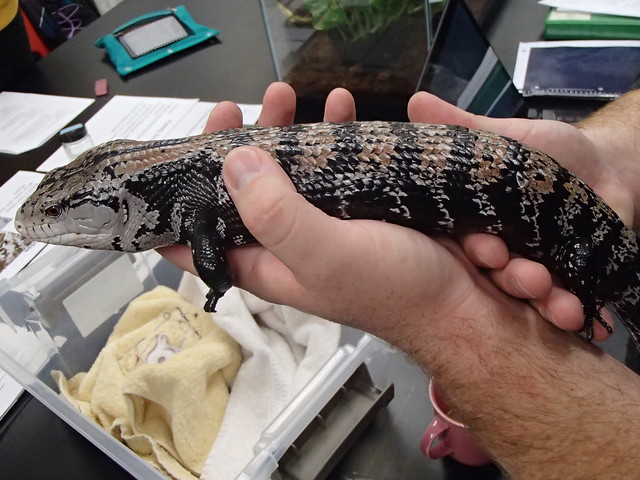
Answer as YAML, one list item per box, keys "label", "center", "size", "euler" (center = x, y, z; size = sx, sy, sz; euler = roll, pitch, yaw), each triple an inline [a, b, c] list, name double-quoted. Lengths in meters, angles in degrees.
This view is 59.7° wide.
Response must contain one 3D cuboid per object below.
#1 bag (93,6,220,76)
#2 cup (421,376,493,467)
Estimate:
- label: "bag"
  center: [-0.936, -1.126, 3.240]
  size: [0.528, 0.124, 0.471]
  euler: [-28, 53, -11]
- label: "cup"
  center: [0.410, 0.588, 1.720]
  size: [0.272, 0.192, 0.169]
  euler: [-21, 26, -24]
